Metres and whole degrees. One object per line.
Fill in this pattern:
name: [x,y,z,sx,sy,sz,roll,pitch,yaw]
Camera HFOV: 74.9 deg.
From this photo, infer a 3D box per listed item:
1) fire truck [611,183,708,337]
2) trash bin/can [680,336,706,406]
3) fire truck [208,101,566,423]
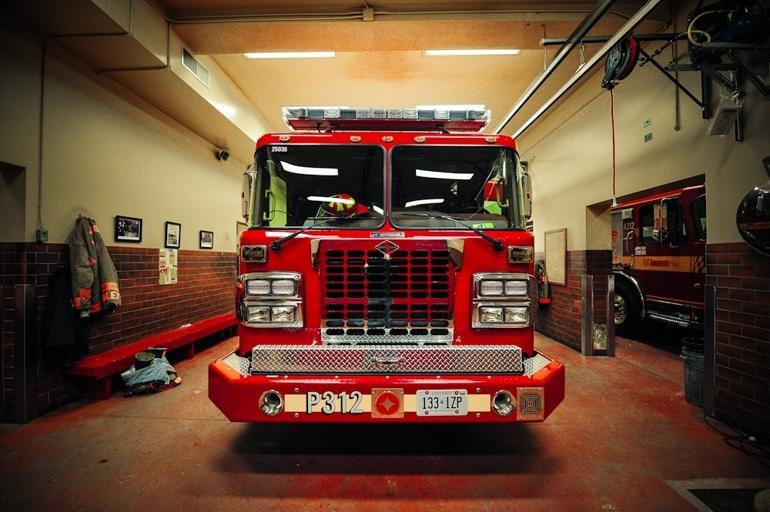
fire truck: [4.816,0.185,8.858,0.358,2.920,2.051,-1,0,-14]
trash bin/can: [4.056,1.524,6.570,0.216,1.007,0.251,-1,0,-42]
fire truck: [0.016,-0.026,8.808,4.360,4.071,7.588,0,1,-3]
